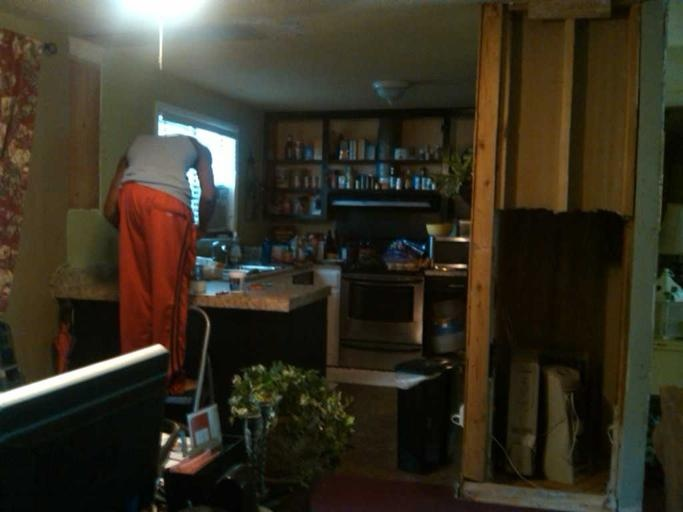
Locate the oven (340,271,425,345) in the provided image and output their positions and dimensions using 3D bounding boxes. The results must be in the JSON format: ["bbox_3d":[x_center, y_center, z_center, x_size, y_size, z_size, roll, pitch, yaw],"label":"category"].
[{"bbox_3d":[0.445,0.523,5.733,0.797,0.790,0.639,1,-1,24],"label":"oven"}]

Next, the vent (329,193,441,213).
[{"bbox_3d":[0.420,-0.539,6.238,1.117,0.182,0.272,3,3,13],"label":"vent"}]

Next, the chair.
[{"bbox_3d":[-0.851,0.616,3.560,0.263,0.650,0.545,1,3,-13],"label":"chair"}]

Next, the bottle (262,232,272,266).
[{"bbox_3d":[-0.716,-0.044,6.049,0.094,0.213,0.273,1,3,-6],"label":"bottle"}]

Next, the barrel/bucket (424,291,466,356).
[{"bbox_3d":[0.890,0.580,5.368,0.416,0.492,0.419,1,-1,0],"label":"barrel/bucket"}]

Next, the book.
[{"bbox_3d":[0.415,-0.896,6.230,1.098,0.509,0.310,3,3,17],"label":"book"}]

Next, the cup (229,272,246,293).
[{"bbox_3d":[-0.633,0.159,3.839,0.101,0.106,0.104,0,1,0],"label":"cup"}]

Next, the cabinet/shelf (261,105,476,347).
[{"bbox_3d":[0.303,-0.283,5.646,2.056,2.467,0.644,1,0,4],"label":"cabinet/shelf"}]

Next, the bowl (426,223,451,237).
[{"bbox_3d":[0.843,-0.227,5.457,0.204,0.121,0.160,2,3,10],"label":"bowl"}]
